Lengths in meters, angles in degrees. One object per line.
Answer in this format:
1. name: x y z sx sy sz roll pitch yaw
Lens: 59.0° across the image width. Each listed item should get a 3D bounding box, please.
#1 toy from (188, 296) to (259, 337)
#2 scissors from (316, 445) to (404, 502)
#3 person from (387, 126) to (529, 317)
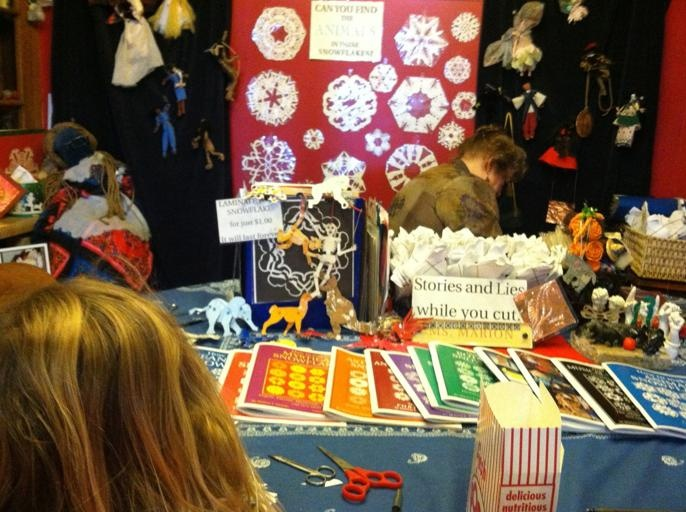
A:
1. toy: -0.378 0.193 2.009 0.229 0.146 0.109 -1 6 -6
2. scissors: 0.025 0.523 1.431 0.223 0.054 0.119 3 11 23
3. person: 0.649 -0.375 2.917 0.862 0.490 0.478 -10 13 -42
